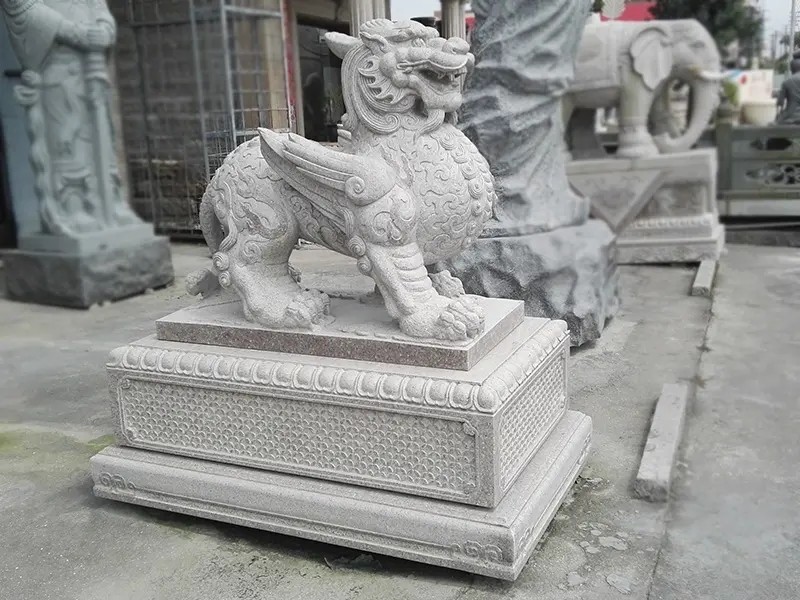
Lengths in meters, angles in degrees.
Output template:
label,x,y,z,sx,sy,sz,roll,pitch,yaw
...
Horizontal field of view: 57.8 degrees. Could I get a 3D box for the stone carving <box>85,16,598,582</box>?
label,x,y,z,sx,sy,sz,roll,pitch,yaw
stone carving,-0.188,-0.066,2.652,1.667,1.799,0.822,2,16,19
